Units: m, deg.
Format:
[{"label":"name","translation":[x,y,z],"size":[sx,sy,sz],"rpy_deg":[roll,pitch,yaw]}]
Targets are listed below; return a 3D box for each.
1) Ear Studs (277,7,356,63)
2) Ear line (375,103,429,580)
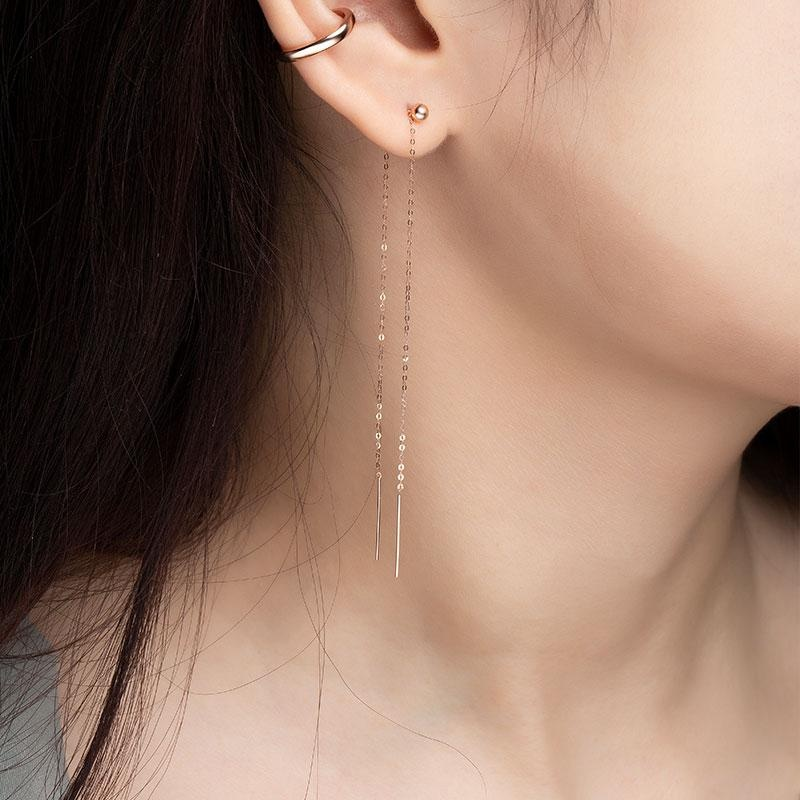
[{"label":"Ear Studs","translation":[-0.073,-0.322,0.986],"size":[0.073,0.025,0.024],"rpy_deg":[-31,-80,9]},{"label":"Ear line","translation":[-0.010,-0.043,1.098],"size":[0.046,0.106,0.499],"rpy_deg":[5,-79,2]}]
